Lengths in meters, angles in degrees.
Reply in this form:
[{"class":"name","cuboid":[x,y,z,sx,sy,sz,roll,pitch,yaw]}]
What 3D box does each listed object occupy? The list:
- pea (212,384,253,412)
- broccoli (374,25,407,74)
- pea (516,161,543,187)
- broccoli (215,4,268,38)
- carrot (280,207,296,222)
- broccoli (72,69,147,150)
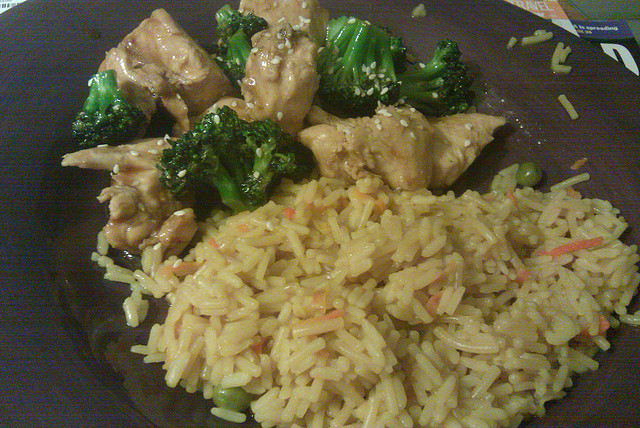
[{"class":"pea","cuboid":[-0.515,1.087,3.977,0.230,0.151,0.138,4,84,-3]},{"class":"broccoli","cuboid":[0.552,-1.133,4.655,0.123,0.292,0.276,-13,12,32]},{"class":"pea","cuboid":[1.427,-0.265,4.557,0.155,0.084,0.166,-40,75,-11]},{"class":"broccoli","cuboid":[-0.571,-1.322,4.597,0.266,0.093,0.324,-19,33,-19]},{"class":"carrot","cuboid":[-0.191,0.005,4.181,0.077,0.061,0.088,-14,36,-26]},{"class":"broccoli","cuboid":[-1.389,-0.757,4.264,0.171,0.311,0.287,36,47,28]}]
